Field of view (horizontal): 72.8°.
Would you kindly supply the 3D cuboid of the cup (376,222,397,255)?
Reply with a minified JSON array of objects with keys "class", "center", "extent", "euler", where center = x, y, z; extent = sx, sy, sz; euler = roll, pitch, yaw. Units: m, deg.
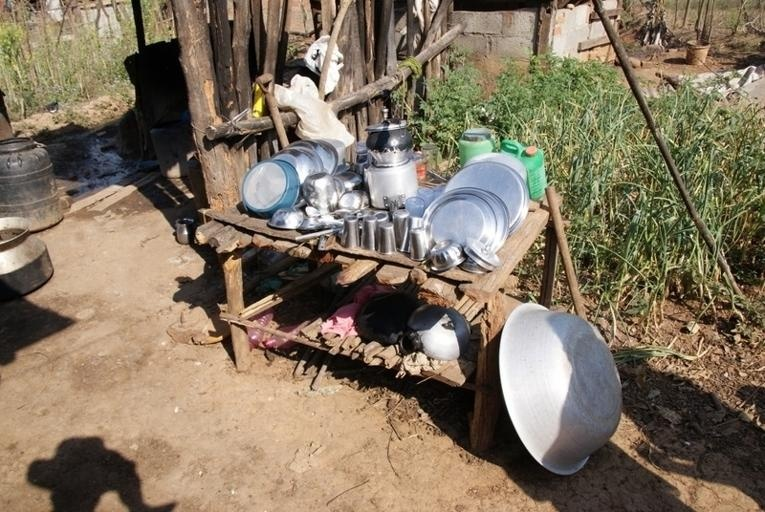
[{"class":"cup","center":[0.034,-0.130,3.953],"extent":[0.138,0.225,0.113],"euler":[0,29,-1]}]

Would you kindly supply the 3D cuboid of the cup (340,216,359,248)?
[{"class":"cup","center":[-0.250,-0.184,4.056],"extent":[0.136,0.226,0.143],"euler":[0,29,0]}]

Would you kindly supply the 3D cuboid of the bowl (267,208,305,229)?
[{"class":"bowl","center":[-0.767,-0.297,4.221],"extent":[0.201,0.062,0.200],"euler":[2,24,-1]}]

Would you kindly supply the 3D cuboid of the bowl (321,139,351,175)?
[{"class":"bowl","center":[-0.400,-0.919,4.748],"extent":[0.263,0.369,0.136],"euler":[22,20,29]}]

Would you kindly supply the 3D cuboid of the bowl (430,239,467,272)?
[{"class":"bowl","center":[0.481,0.010,3.778],"extent":[0.217,0.085,0.213],"euler":[-13,52,17]}]

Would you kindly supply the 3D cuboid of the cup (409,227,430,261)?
[{"class":"cup","center":[0.292,-0.089,3.898],"extent":[0.181,0.224,0.158],"euler":[-10,30,-17]}]

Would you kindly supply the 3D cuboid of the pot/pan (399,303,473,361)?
[{"class":"pot/pan","center":[0.454,0.636,4.308],"extent":[0.522,0.316,0.374],"euler":[8,29,15]}]

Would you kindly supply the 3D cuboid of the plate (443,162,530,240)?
[{"class":"plate","center":[0.873,-0.539,4.265],"extent":[0.901,0.493,0.717],"euler":[1,56,0]}]
